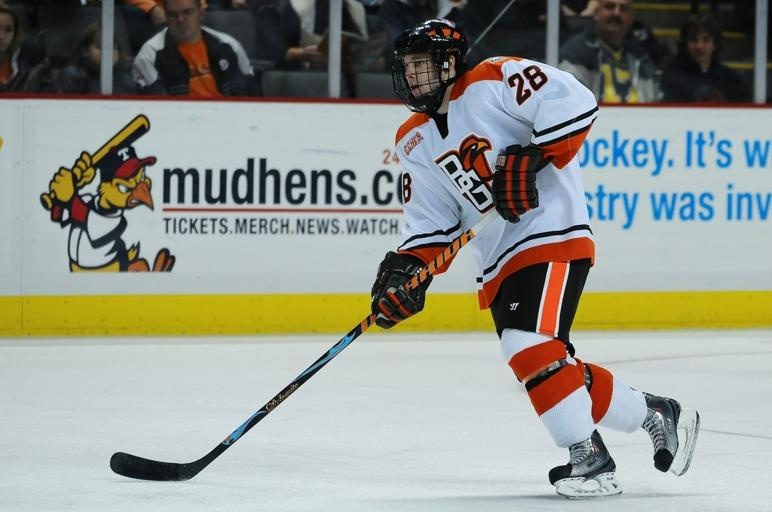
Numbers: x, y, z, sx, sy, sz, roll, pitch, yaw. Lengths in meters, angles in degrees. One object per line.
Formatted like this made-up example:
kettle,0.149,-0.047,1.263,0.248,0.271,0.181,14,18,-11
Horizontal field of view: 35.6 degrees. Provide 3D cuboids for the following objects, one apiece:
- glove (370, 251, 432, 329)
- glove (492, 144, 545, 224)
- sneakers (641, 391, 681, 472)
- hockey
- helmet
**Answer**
glove,0.057,0.177,5.918,0.267,0.378,0.170,45,7,14
glove,0.618,-0.336,5.637,0.259,0.336,0.131,0,-6,37
sneakers,1.308,0.834,5.702,0.177,0.346,0.153,2,9,13
hockey,-0.394,0.383,6.799,2.868,0.331,0.218,-32,-10,1
helmet,0.242,-0.941,5.905,0.391,0.410,0.335,-12,3,-19
